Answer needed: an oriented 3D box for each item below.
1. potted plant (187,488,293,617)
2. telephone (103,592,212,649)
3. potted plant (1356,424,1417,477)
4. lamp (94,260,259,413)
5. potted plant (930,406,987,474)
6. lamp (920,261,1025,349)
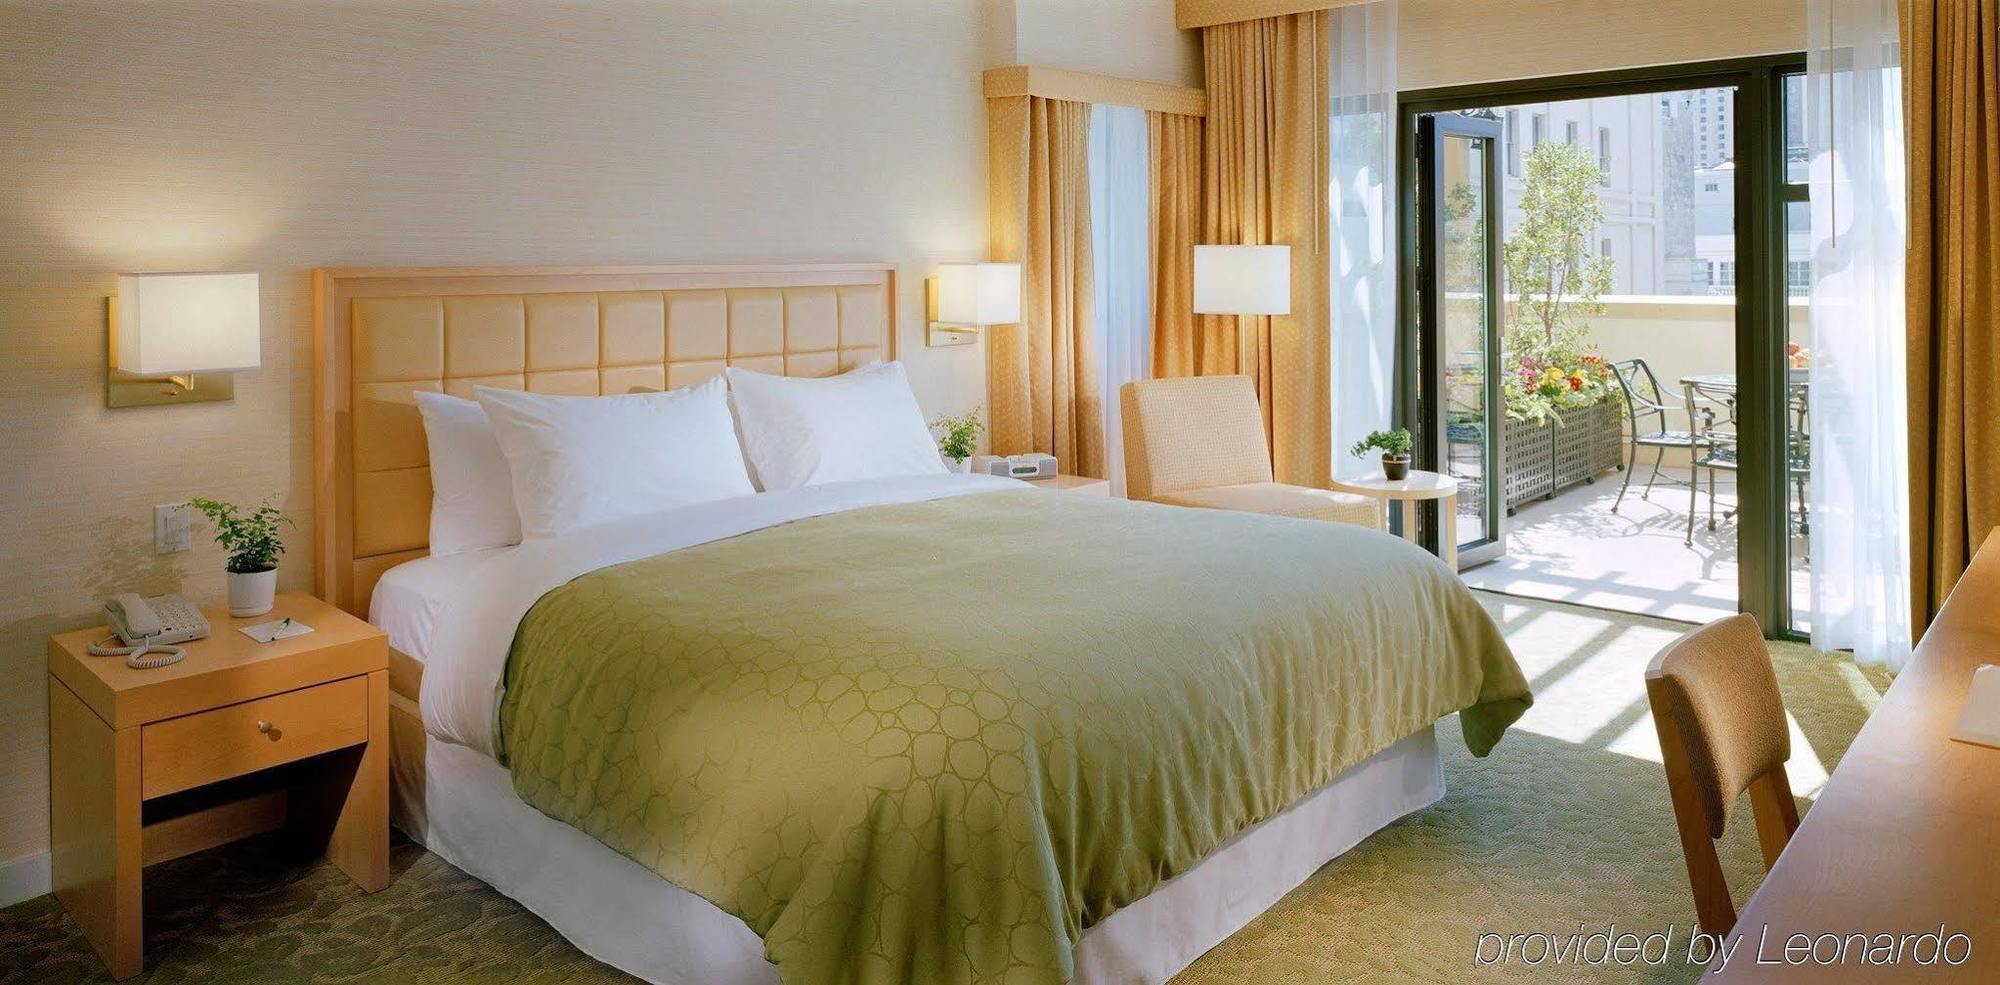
[{"bbox_3d":[-3.392,0.293,5.260,0.330,0.468,0.437,4,8,25],"label":"potted plant"},{"bbox_3d":[-3.598,0.551,5.026,0.249,0.106,0.433,-9,19,-34],"label":"telephone"},{"bbox_3d":[2.414,-0.260,7.426,0.410,0.294,0.403,-1,3,-3],"label":"potted plant"},{"bbox_3d":[-3.624,-0.701,5.143,0.427,0.708,0.690,10,11,34],"label":"lamp"},{"bbox_3d":[-0.293,-0.325,7.322,0.464,0.459,0.382,-1,0,-28],"label":"potted plant"},{"bbox_3d":[-0.178,-1.138,7.296,0.414,0.445,0.552,-3,9,-37],"label":"lamp"}]
